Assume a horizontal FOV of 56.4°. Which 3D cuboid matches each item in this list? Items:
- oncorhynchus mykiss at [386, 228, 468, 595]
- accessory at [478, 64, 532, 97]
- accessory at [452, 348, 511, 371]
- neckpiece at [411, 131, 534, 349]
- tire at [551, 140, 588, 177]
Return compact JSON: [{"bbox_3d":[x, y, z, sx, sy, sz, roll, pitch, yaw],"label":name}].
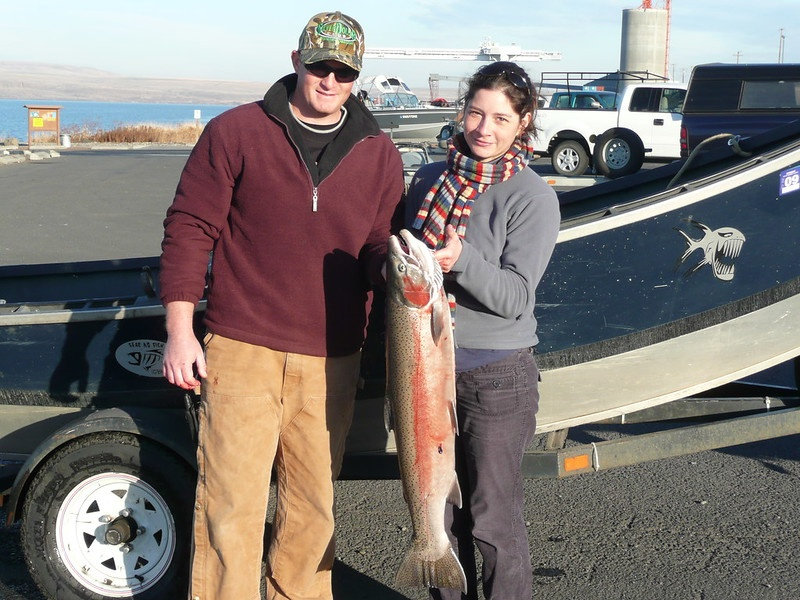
[{"bbox_3d":[0.110,0.442,2.965,0.309,1.468,0.203,0,14,-2],"label":"oncorhynchus mykiss"},{"bbox_3d":[0.455,-0.921,3.118,0.130,0.142,0.044,19,54,1],"label":"accessory"},{"bbox_3d":[0.339,0.234,3.117,0.149,0.068,0.121,-2,2,-1],"label":"accessory"},{"bbox_3d":[0.257,-0.350,3.176,0.317,0.599,0.119,11,-19,32],"label":"neckpiece"},{"bbox_3d":[4.117,-3.425,17.892,0.695,0.774,0.260,26,17,21],"label":"tire"}]
